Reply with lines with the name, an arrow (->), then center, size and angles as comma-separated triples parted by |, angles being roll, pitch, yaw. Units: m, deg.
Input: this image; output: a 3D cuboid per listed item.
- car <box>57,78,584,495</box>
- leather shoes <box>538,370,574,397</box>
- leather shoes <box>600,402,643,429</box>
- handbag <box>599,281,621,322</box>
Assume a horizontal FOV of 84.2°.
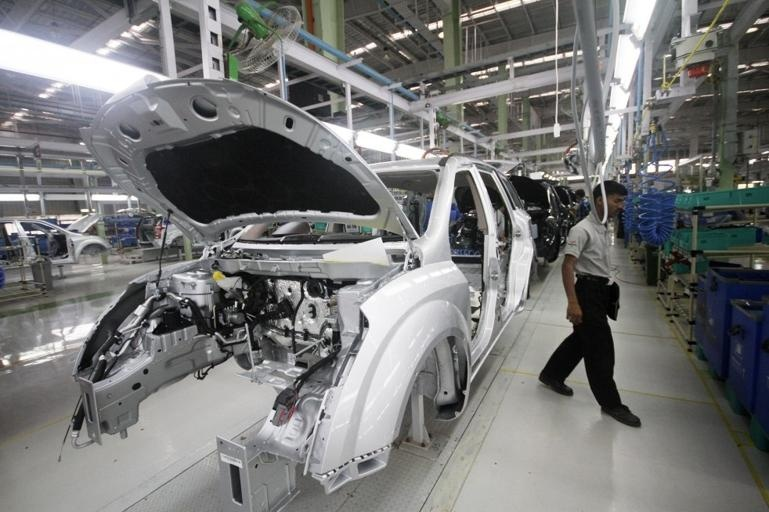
car -> -0.234, -0.092, 4.425 | 2.878, 2.422, 4.359 | 2, 15, 34
leather shoes -> 1.771, 1.311, 4.548 | 0.439, 0.203, 0.151 | 18, 26, 36
leather shoes -> 2.277, 1.530, 4.102 | 0.321, 0.132, 0.138 | 4, 10, 43
handbag -> 2.247, 0.448, 4.166 | 0.119, 0.347, 0.262 | 2, 9, 16
